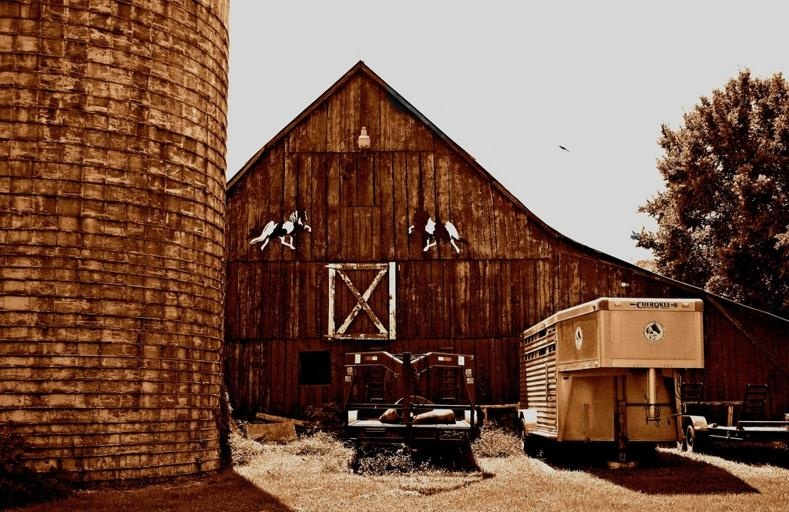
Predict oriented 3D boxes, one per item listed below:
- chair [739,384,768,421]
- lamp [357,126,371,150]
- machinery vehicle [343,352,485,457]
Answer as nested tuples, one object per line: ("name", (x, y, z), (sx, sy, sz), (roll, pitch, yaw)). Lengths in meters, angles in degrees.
("chair", (9.907, 3.949, 25.549), (0.558, 0.884, 3.207), (0, -1, 24))
("lamp", (-0.990, -3.661, 28.454), (0.449, 0.748, 0.472), (0, 0, 6))
("machinery vehicle", (0.400, 3.218, 24.765), (3.202, 2.930, 4.533), (0, 14, 2))
